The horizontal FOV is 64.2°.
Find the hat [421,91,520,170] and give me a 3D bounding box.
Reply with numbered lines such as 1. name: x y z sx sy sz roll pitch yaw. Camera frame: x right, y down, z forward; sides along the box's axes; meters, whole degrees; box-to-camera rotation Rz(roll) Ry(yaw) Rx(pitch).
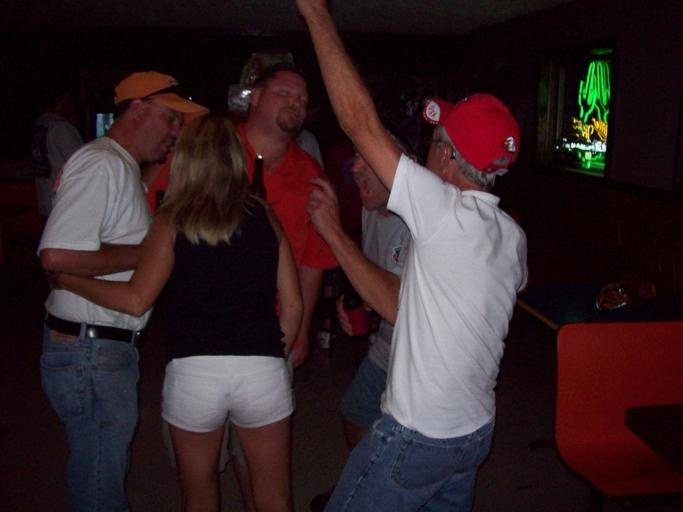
1. hat: 0.552 -0.559 2.285 0.429 0.227 0.297 43 25 28

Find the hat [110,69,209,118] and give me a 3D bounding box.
1. hat: -0.969 -0.823 2.828 0.433 0.196 0.283 6 -6 -29

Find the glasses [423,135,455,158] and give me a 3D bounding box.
1. glasses: 0.405 -0.448 2.228 0.109 0.035 0.111 21 16 -8
